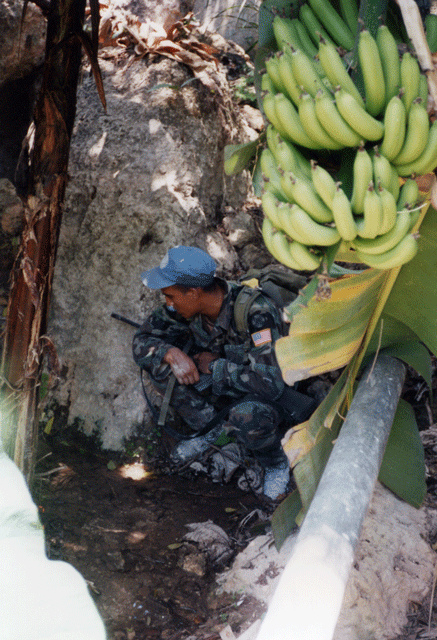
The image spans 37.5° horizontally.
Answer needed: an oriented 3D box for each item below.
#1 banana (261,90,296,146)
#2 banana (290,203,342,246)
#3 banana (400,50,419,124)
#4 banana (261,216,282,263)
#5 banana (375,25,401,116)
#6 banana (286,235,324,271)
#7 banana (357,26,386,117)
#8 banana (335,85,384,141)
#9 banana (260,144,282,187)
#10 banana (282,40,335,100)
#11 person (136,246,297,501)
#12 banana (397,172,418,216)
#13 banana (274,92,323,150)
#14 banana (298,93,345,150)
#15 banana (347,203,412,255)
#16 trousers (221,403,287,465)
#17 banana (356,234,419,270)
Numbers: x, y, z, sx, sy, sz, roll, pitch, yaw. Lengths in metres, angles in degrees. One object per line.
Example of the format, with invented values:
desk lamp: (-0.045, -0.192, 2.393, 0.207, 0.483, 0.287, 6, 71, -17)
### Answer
banana: (0.234, -0.680, 2.274, 0.094, 0.259, 0.061, 13, 58, 33)
banana: (0.304, -0.279, 2.021, 0.194, 0.105, 0.063, 29, 57, 31)
banana: (0.591, -0.729, 2.042, 0.067, 0.222, 0.078, 0, 10, 9)
banana: (0.182, -0.299, 2.308, 0.053, 0.065, 0.180, -3, 73, -39)
banana: (0.561, -0.809, 2.087, 0.076, 0.311, 0.115, -4, 22, 20)
banana: (0.287, -0.239, 2.185, 0.147, 0.080, 0.039, 47, 36, 0)
banana: (0.477, -0.779, 2.039, 0.080, 0.303, 0.112, -12, 15, -10)
banana: (0.437, -0.648, 2.024, 0.061, 0.199, 0.127, -39, 24, 13)
banana: (0.181, -0.556, 2.309, 0.045, 0.064, 0.163, -29, 71, -3)
banana: (0.307, -0.759, 2.107, 0.067, 0.282, 0.098, -32, 43, 8)
person: (0.056, 0.265, 4.172, 0.987, 1.538, 0.847, 21, 32, 37)
banana: (0.630, -0.420, 2.109, 0.054, 0.075, 0.194, 18, 52, 1)
banana: (0.294, -0.690, 2.163, 0.095, 0.065, 0.253, -16, 50, -26)
banana: (0.346, -0.651, 2.096, 0.055, 0.163, 0.135, -39, 11, -25)
banana: (0.533, -0.311, 2.064, 0.168, 0.163, 0.048, -13, 21, 19)
trousers: (0.232, 0.676, 3.838, 0.420, 0.334, 0.168, 16, 32, 3)
banana: (0.550, -0.223, 2.038, 0.195, 0.101, 0.070, -5, 9, 33)
